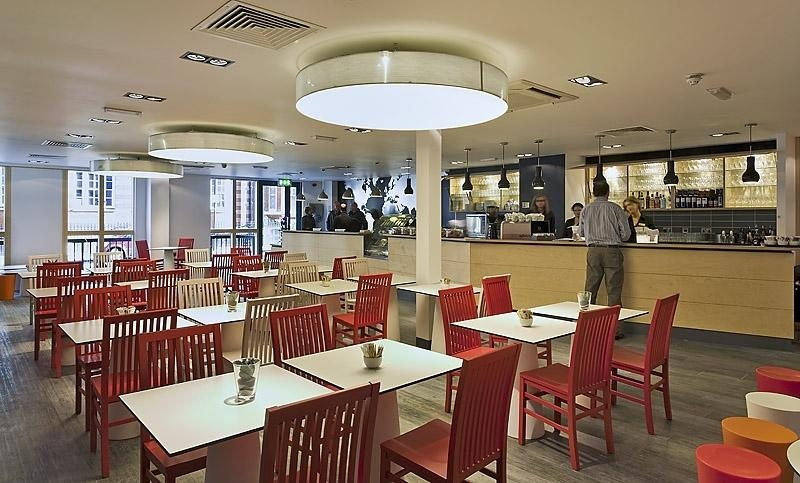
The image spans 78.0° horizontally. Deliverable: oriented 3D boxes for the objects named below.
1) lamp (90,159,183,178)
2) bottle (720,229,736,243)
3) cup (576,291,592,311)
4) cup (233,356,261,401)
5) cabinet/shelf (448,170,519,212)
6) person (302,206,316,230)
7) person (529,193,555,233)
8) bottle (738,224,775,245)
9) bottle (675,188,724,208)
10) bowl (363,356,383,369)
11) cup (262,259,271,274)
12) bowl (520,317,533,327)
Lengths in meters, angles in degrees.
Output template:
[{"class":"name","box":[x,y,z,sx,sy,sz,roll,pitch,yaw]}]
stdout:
[{"class":"lamp","box":[-5.697,-1.628,10.683,1.735,0.382,0.696,-2,4,-18]},{"class":"bottle","box":[6.063,-0.106,9.094,0.299,0.283,0.305,2,1,43]},{"class":"cup","box":[2.091,0.665,5.588,0.110,0.197,0.144,0,4,27]},{"class":"cup","box":[-1.219,1.101,3.959,0.191,0.323,0.141,-3,4,-19]},{"class":"cabinet/shelf","box":[2.283,-1.333,13.148,0.952,1.023,2.513,-4,4,-30]},{"class":"person","box":[-2.606,-0.692,14.206,0.318,0.652,0.842,-3,4,-13]},{"class":"person","box":[2.982,-0.585,10.247,0.438,0.785,1.788,-1,3,15]},{"class":"bottle","box":[6.354,-0.133,8.746,0.552,0.185,0.392,-2,3,-20]},{"class":"bottle","box":[6.185,-0.897,10.189,0.860,0.396,0.205,0,4,27]},{"class":"bowl","box":[-0.225,1.048,4.304,0.123,0.069,0.118,2,-9,0]},{"class":"cup","box":[-2.330,0.427,8.711,0.204,0.231,0.186,1,-5,0]},{"class":"bowl","box":[1.355,0.830,5.211,0.155,0.108,0.117,-2,4,-5]}]
